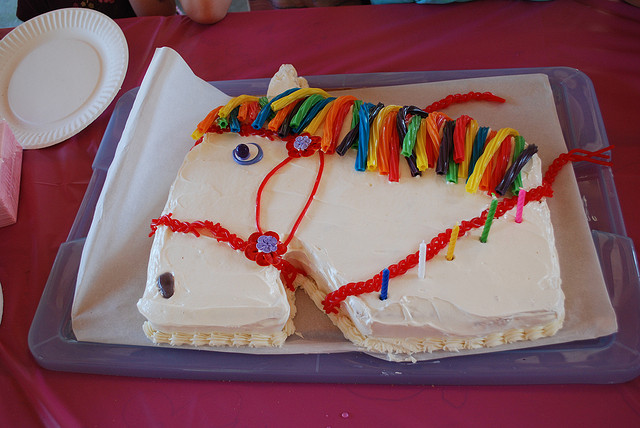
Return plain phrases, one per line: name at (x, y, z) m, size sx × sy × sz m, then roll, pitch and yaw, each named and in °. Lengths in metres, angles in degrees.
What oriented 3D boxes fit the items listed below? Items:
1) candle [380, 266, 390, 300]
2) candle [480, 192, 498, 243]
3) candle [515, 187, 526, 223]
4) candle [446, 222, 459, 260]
candle at (0.222, 0.236, 1.953) m, size 0.029 × 0.126 × 0.036 m, roll -5°, pitch 25°, yaw -7°
candle at (0.582, 0.026, 1.979) m, size 0.029 × 0.198 × 0.030 m, roll 16°, pitch 28°, yaw 33°
candle at (0.710, -0.036, 2.030) m, size 0.025 × 0.133 × 0.090 m, roll 7°, pitch 26°, yaw 19°
candle at (0.463, 0.099, 1.998) m, size 0.028 × 0.137 × 0.029 m, roll 33°, pitch 65°, yaw 23°
